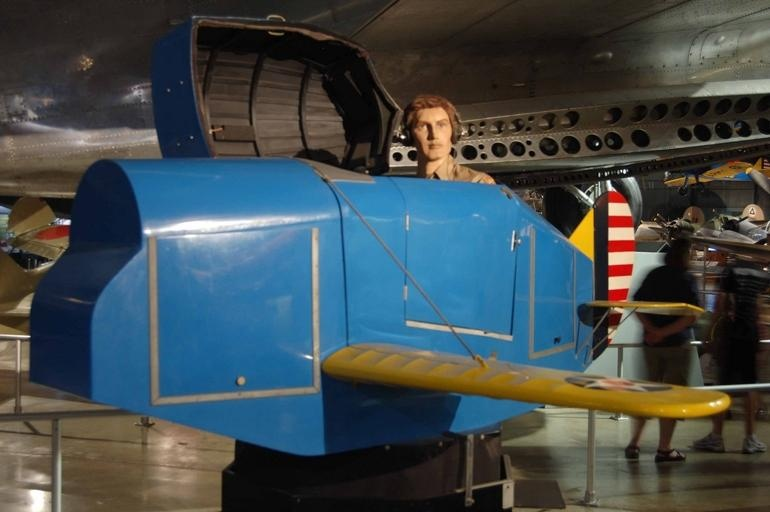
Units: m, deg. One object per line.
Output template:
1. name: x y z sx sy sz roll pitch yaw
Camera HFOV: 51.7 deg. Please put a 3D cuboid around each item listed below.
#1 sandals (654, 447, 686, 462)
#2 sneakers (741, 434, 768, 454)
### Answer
1. sandals: 3.222 2.237 8.990 0.347 0.108 0.136 -2 0 1
2. sneakers: 4.257 2.172 9.215 0.402 0.205 0.163 -2 -1 -24
